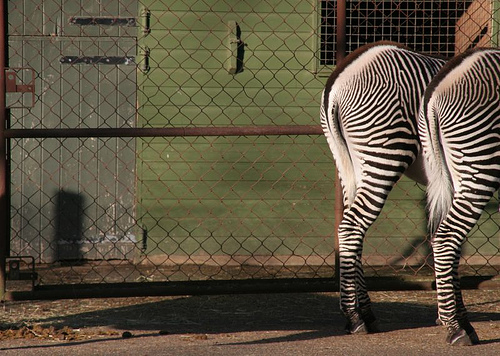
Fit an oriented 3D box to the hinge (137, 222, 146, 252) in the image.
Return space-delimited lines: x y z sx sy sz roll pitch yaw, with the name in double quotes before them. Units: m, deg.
"hinge" -1.137 0.615 12.453 0.101 0.309 0.127 -2 3 -6
